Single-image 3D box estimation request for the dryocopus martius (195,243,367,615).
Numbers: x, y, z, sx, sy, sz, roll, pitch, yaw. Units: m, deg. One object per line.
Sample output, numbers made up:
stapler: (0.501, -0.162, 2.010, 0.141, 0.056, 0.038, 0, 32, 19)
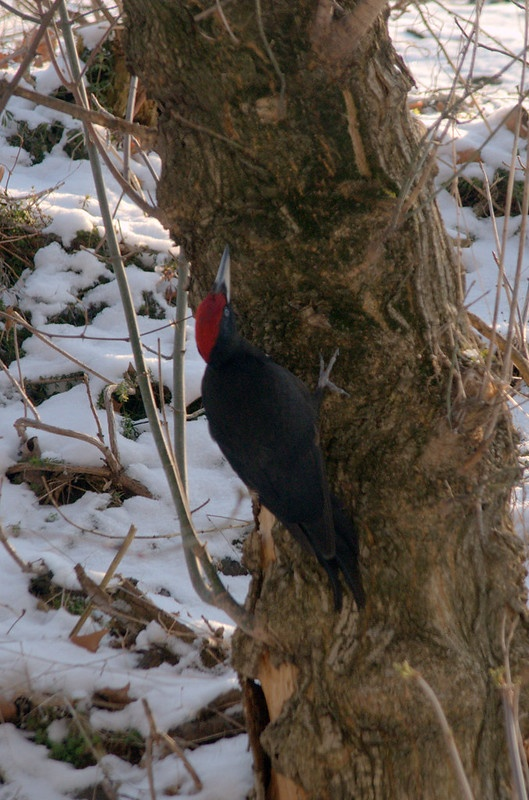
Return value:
dryocopus martius: (0.049, 0.165, 4.114, 0.532, 1.611, 0.670, -16, 2, 43)
